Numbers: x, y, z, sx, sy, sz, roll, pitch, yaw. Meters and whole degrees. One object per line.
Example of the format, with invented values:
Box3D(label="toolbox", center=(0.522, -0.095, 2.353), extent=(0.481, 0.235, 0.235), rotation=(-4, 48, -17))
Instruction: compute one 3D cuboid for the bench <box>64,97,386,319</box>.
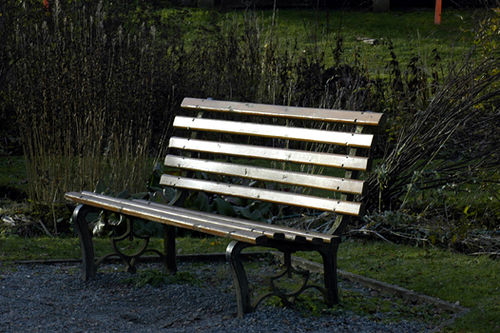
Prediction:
Box3D(label="bench", center=(-0.354, 0.341, 4.119), extent=(1.464, 1.602, 2.735), rotation=(2, 2, -38))
